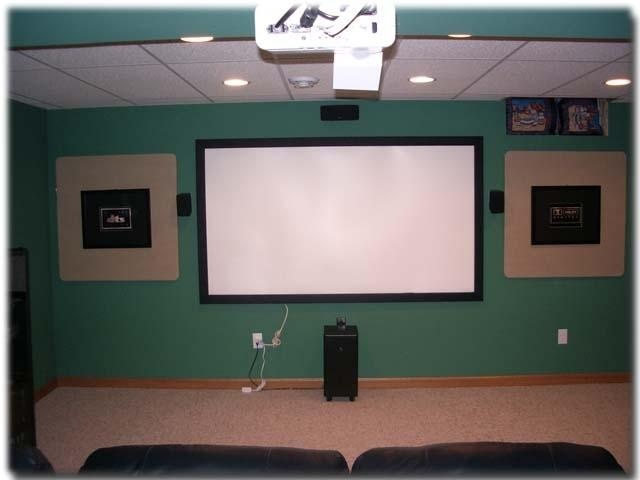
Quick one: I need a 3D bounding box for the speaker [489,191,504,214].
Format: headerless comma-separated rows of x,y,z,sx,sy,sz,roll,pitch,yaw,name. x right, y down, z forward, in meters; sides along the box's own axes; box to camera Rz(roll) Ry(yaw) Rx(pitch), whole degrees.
1.682,-0.364,5.162,0.138,0.120,0.190,0,-53,2,speaker

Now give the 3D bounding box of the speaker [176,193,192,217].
-1.303,-0.340,5.188,0.147,0.135,0.198,1,-53,2,speaker

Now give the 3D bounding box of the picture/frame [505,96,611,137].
2.234,-1.170,5.095,0.975,0.221,0.303,3,-53,0,picture/frame

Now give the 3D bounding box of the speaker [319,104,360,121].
0.186,-1.205,5.091,0.303,0.067,0.156,-2,-83,-2,speaker

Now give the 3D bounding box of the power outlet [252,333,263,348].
-0.597,0.951,5.197,0.149,0.019,0.200,0,-89,-2,power outlet

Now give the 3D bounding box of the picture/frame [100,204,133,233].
-1.942,-0.225,5.201,0.274,0.037,0.196,0,-89,0,picture/frame
